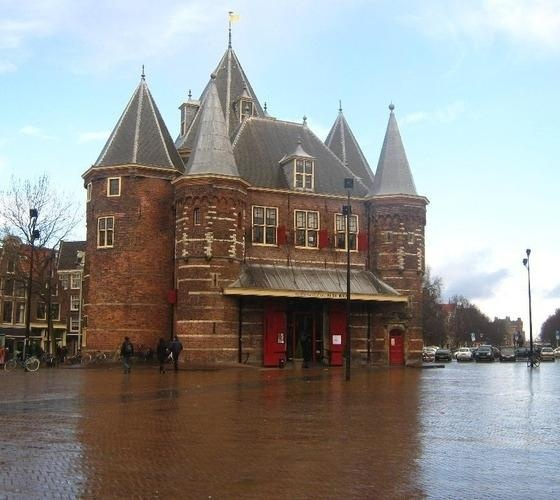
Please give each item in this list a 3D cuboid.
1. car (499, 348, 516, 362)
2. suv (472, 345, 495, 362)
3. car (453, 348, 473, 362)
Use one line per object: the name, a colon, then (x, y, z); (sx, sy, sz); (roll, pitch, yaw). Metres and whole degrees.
car: (21.025, 9.640, 66.480); (1.220, 1.090, 2.825); (-2, -13, 6)
suv: (18.034, 9.171, 63.904); (1.160, 1.177, 2.538); (-2, -15, 10)
car: (17.016, 9.666, 66.696); (1.371, 1.134, 2.300); (-3, -9, 19)
